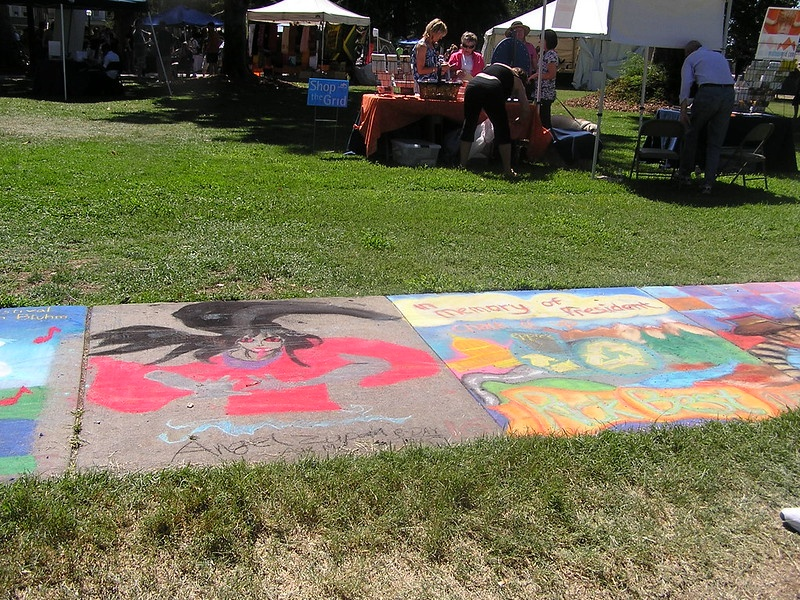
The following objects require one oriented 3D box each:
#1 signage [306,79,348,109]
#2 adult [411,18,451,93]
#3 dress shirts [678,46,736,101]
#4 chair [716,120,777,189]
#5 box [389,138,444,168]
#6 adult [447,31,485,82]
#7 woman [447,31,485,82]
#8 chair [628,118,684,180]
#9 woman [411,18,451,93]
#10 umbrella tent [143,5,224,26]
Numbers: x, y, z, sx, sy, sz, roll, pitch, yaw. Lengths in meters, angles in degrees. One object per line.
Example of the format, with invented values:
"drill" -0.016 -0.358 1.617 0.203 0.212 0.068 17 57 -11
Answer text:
"signage" -1.331 -3.706 12.022 0.666 0.479 0.556 0 21 -12
"adult" 0.488 -4.107 11.431 0.615 1.204 1.230 4 20 -1
"dress shirts" 4.333 -3.293 9.932 0.461 0.769 0.645 -9 11 37
"chair" 5.424 -2.292 10.688 0.577 0.995 0.760 -10 16 -29
"box" 0.161 -2.440 11.238 0.841 0.391 0.549 13 22 21
"adult" 1.229 -4.582 12.983 0.672 1.018 0.592 4 17 -2
"woman" 1.247 -4.603 13.003 0.659 1.028 0.560 1 19 -7
"chair" 4.013 -2.301 10.502 0.663 1.104 0.839 7 20 18
"woman" 0.488 -4.109 11.436 0.615 1.204 1.240 4 20 -1
"umbrella tent" -9.264 -11.931 28.403 2.976 1.073 3.002 2 24 4
